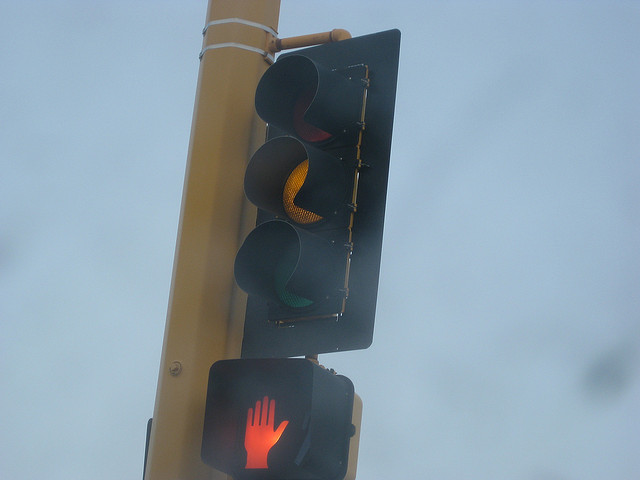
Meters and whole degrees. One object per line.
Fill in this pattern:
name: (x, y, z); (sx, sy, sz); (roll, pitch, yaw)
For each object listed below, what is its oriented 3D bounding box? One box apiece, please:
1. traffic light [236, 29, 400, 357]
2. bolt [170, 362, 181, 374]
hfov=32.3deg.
traffic light: (-0.015, -0.266, 5.710); (0.724, 1.337, 1.267); (5, -55, 2)
bolt: (-0.750, 0.646, 5.722); (0.049, 0.014, 0.054); (1, -94, 34)
